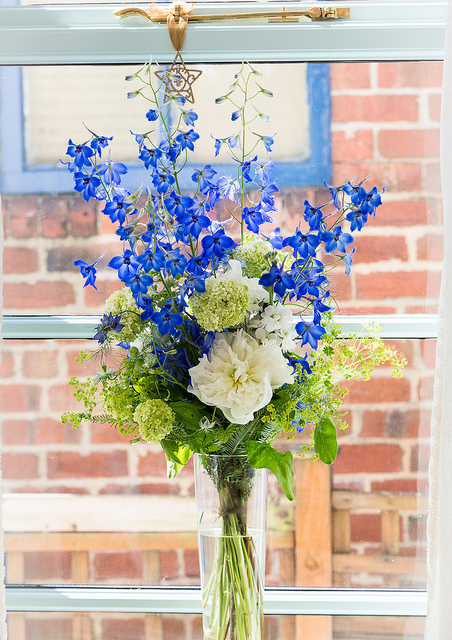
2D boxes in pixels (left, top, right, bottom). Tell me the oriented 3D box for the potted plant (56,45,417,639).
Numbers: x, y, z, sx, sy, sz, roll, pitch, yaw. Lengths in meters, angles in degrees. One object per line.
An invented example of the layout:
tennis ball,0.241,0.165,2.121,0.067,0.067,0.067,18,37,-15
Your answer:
potted plant,0.038,0.001,2.080,0.644,0.814,0.698,4,-50,-8
